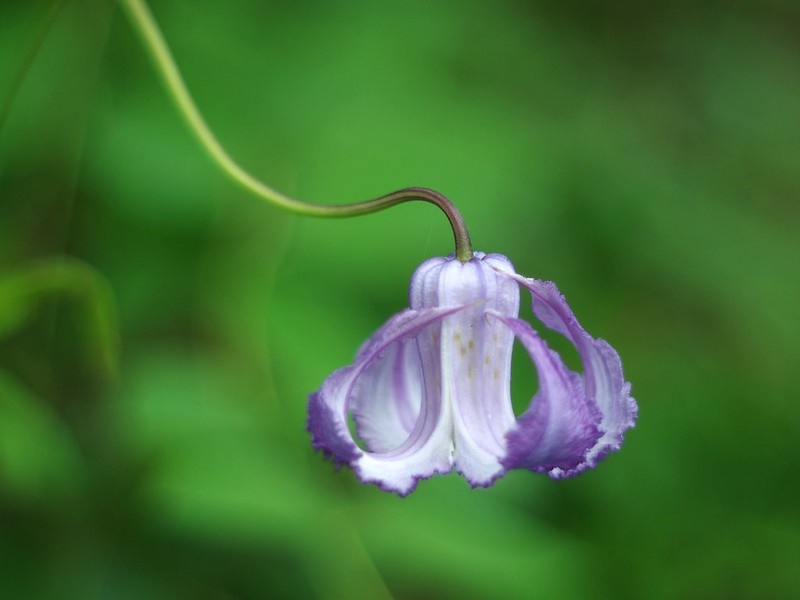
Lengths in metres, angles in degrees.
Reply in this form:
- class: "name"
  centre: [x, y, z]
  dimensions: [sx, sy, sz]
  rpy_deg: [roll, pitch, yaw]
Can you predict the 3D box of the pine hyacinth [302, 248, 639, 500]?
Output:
- class: "pine hyacinth"
  centre: [0.162, 0.092, 1.503]
  dimensions: [0.528, 0.403, 0.491]
  rpy_deg: [6, 16, 33]
